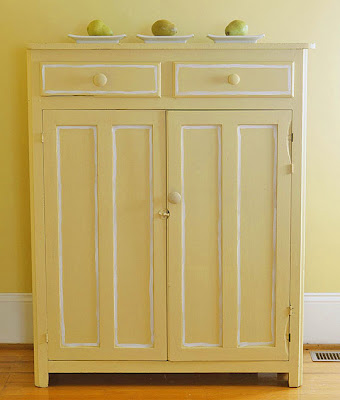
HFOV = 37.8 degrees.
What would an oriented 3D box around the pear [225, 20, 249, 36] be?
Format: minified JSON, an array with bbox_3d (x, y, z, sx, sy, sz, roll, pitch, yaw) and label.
[{"bbox_3d":[0.302,-0.769,2.247,0.089,0.085,0.077,-1,-35,-4],"label":"pear"}]

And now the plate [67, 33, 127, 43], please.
[{"bbox_3d":[-0.308,-0.685,2.102,0.151,0.037,0.118,-5,17,-13],"label":"plate"}]

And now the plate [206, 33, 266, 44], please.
[{"bbox_3d":[0.282,-0.697,2.135,0.229,0.043,0.183,2,14,11],"label":"plate"}]

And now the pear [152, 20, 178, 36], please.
[{"bbox_3d":[-0.027,-0.766,2.244,0.100,0.093,0.069,4,9,-5],"label":"pear"}]

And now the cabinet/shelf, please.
[{"bbox_3d":[-0.011,0.029,2.127,1.135,1.664,0.572,0,1,0],"label":"cabinet/shelf"}]
